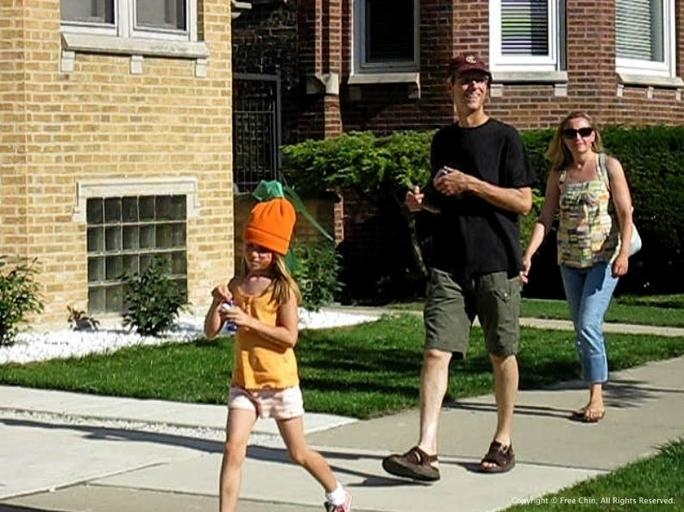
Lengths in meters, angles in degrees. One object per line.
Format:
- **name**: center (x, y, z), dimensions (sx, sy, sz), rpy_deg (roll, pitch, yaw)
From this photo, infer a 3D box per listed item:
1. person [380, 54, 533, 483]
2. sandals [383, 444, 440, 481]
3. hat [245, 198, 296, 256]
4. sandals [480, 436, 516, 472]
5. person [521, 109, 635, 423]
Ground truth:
- **person**: center (0.974, 0.295, 7.950), dimensions (1.067, 2.646, 0.765), rpy_deg (-2, 3, -7)
- **sandals**: center (0.520, 1.547, 7.638), dimensions (0.421, 0.248, 0.197), rpy_deg (18, -26, -13)
- **hat**: center (-0.480, -0.207, 7.249), dimensions (0.229, 0.275, 0.197), rpy_deg (10, 2, 24)
- **sandals**: center (1.194, 1.524, 7.911), dimensions (0.177, 0.234, 0.460), rpy_deg (-5, -3, 31)
- **person**: center (2.132, 0.064, 9.151), dimensions (0.868, 2.645, 0.725), rpy_deg (-1, 3, 22)
